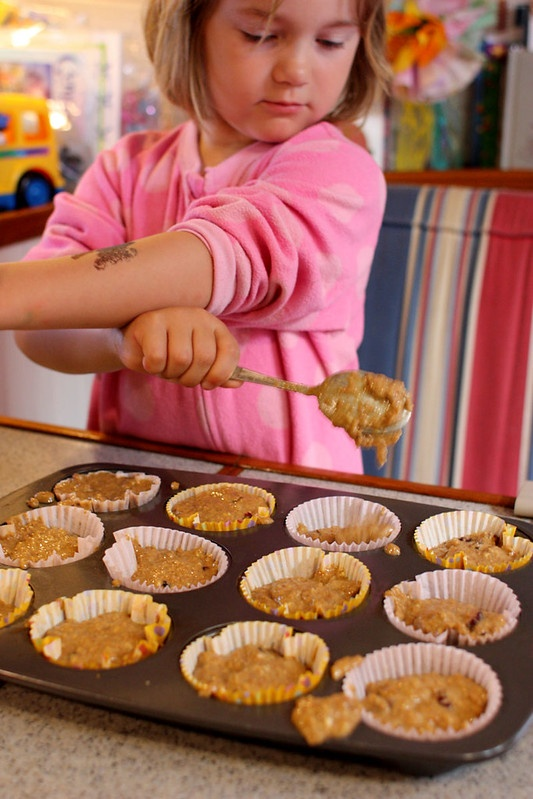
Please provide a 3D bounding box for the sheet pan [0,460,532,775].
[{"bbox_3d":[-0.013,0.183,0.570,0.355,0.037,0.247,5,15,24],"label":"sheet pan"}]
